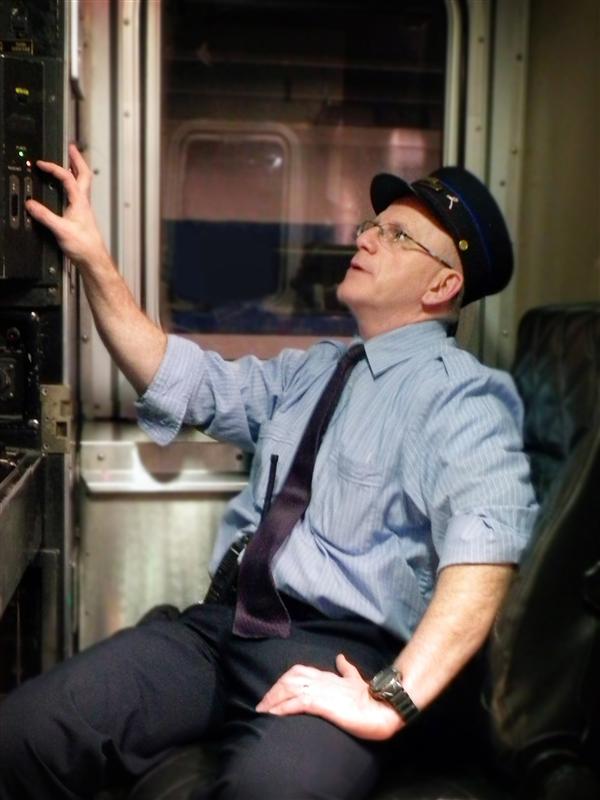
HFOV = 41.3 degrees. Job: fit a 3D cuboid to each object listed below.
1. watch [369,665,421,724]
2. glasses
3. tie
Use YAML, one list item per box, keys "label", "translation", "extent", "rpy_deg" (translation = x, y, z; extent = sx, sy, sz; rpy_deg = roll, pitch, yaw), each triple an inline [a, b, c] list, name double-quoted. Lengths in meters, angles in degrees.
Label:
- label: "watch"
  translation: [0.139, 0.428, 1.150]
  extent: [0.038, 0.059, 0.056]
  rpy_deg: [-38, -71, 5]
- label: "glasses"
  translation: [0.204, -0.302, 1.618]
  extent: [0.148, 0.117, 0.043]
  rpy_deg: [24, -83, -34]
- label: "tie"
  translation: [0.013, 0.166, 1.518]
  extent: [0.044, 0.120, 0.561]
  rpy_deg: [59, -135, -54]
